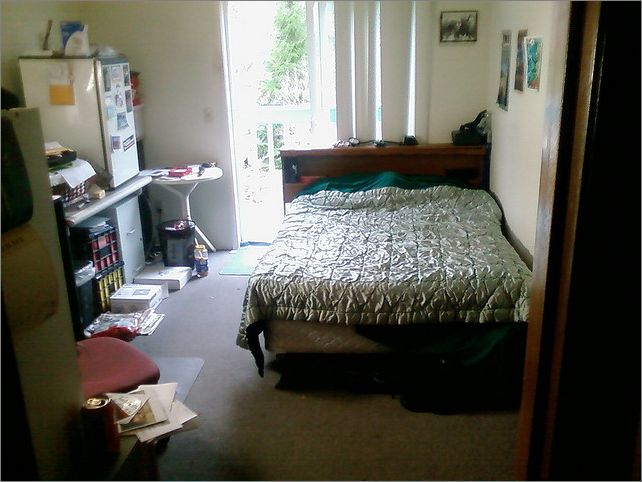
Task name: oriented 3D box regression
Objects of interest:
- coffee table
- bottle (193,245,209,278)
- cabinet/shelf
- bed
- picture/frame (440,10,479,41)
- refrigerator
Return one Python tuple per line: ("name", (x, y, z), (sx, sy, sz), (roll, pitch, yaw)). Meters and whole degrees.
("coffee table", (-1.157, -0.374, 4.669), (0.763, 0.779, 0.767), (-13, 30, -17))
("bottle", (-1.029, 0.177, 4.292), (0.137, 0.226, 0.239), (-4, 15, -10))
("cabinet/shelf", (-1.524, -0.087, 3.561), (0.506, 0.629, 0.706), (5, 27, 11))
("bed", (0.456, 0.257, 3.928), (1.855, 1.006, 1.719), (-1, 27, 2))
("picture/frame", (1.159, -1.815, 4.180), (0.280, 0.191, 0.027), (0, 12, 3))
("refrigerator", (-1.668, -0.885, 3.717), (0.374, 0.964, 0.780), (9, 22, 32))
